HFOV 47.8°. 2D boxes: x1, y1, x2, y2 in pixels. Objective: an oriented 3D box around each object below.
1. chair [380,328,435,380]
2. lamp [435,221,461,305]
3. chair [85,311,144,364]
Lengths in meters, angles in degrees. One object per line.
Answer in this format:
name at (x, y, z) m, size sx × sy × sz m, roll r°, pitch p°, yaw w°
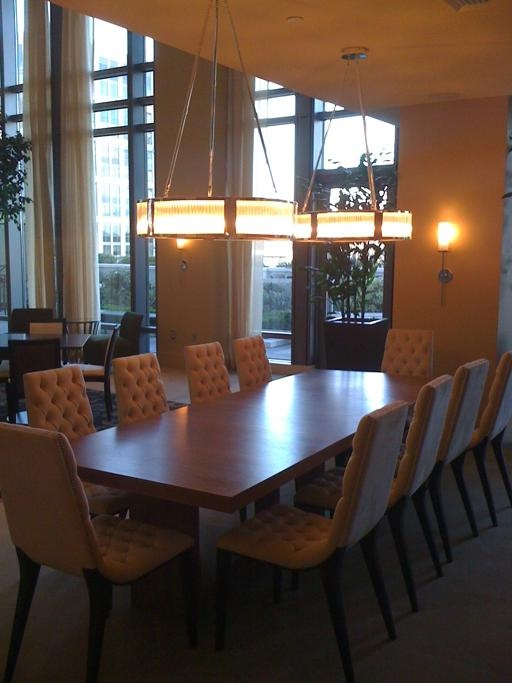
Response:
chair at (1.204, 0.062, 4.615) m, size 0.368 × 0.692 × 0.376 m, roll 4°, pitch 4°, yaw 28°
lamp at (1.762, -0.722, 5.318) m, size 0.206 × 0.746 × 0.152 m, roll 4°, pitch 11°, yaw 27°
chair at (-1.907, -0.010, 7.819) m, size 0.829 × 1.018 × 0.680 m, roll 2°, pitch 4°, yaw -22°
